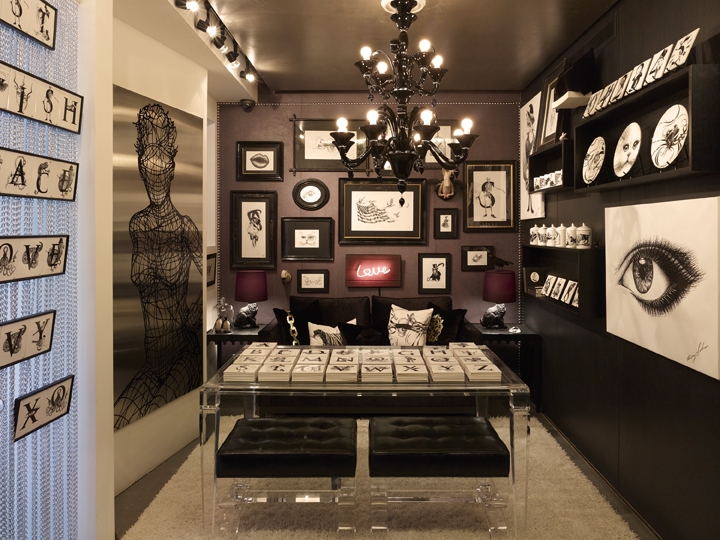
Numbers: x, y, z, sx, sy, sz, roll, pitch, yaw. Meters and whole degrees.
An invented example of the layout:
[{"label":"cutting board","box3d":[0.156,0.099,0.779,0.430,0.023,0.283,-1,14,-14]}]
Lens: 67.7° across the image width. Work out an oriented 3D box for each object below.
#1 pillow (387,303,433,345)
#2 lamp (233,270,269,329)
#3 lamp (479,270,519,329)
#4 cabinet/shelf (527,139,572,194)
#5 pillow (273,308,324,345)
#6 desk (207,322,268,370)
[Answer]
[{"label":"pillow","box3d":[0.447,0.572,5.116,0.423,0.450,0.168,4,-10,24]},{"label":"lamp","box3d":[-1.146,0.299,5.467,0.318,0.566,0.325,2,0,-16]},{"label":"lamp","box3d":[1.395,0.306,5.430,0.329,0.577,0.336,1,5,13]},{"label":"cabinet/shelf","box3d":[1.640,-0.871,4.606,0.157,0.343,0.553,1,2,-1]},{"label":"pillow","box3d":[-0.682,0.554,5.156,0.118,0.357,0.324,-7,-8,30]},{"label":"desk","box3d":[-1.201,0.647,5.180,0.385,0.508,0.513,1,1,0]}]
